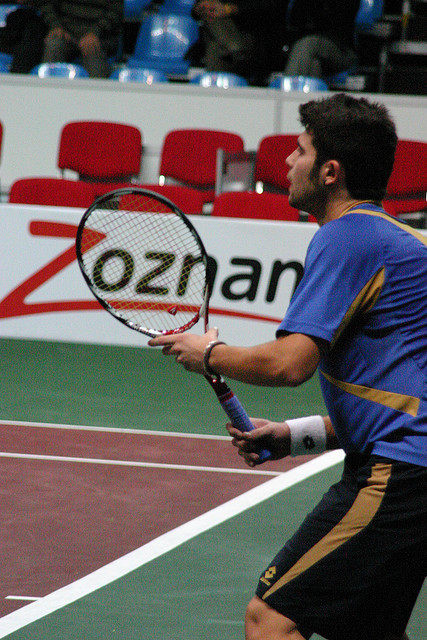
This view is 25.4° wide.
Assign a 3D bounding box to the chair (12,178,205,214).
[{"bbox_3d":[-0.600,-0.668,5.030,0.728,0.265,0.222,1,1,-4],"label":"chair"}]

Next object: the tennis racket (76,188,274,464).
[{"bbox_3d":[-0.199,-0.068,4.337,1.600,0.476,0.128,58,3,8],"label":"tennis racket"}]

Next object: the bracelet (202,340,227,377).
[{"bbox_3d":[0.002,0.087,2.324,0.031,0.077,0.067,4,-2,-43],"label":"bracelet"}]

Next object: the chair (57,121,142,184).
[{"bbox_3d":[-0.756,-1.136,6.340,0.556,0.433,0.239,6,32,-8],"label":"chair"}]

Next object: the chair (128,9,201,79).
[{"bbox_3d":[-0.370,-2.161,7.454,0.535,0.463,0.526,16,50,-7],"label":"chair"}]

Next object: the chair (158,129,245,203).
[{"bbox_3d":[-0.092,-1.105,6.553,0.618,0.590,0.522,-3,19,-4],"label":"chair"}]

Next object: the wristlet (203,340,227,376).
[{"bbox_3d":[-0.005,0.089,2.328,0.021,0.074,0.071,-33,92,-39],"label":"wristlet"}]

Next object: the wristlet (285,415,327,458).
[{"bbox_3d":[0.238,0.313,2.519,0.140,0.123,0.099,-6,-10,-7],"label":"wristlet"}]
